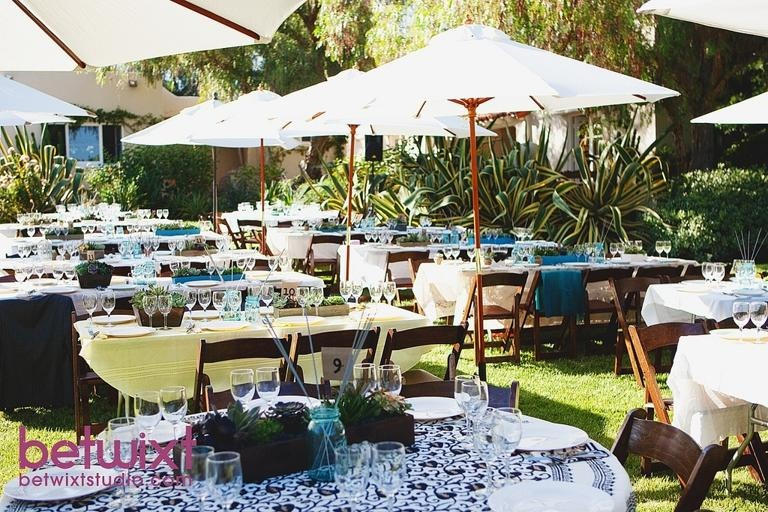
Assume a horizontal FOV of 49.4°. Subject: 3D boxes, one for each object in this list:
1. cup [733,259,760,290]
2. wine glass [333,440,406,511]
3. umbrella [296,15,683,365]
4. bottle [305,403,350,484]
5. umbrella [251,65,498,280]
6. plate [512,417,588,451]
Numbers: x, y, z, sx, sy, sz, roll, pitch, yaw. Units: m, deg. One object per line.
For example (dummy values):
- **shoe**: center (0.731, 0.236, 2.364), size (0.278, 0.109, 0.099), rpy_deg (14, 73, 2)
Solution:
- **cup**: center (3.530, 0.180, 8.100), size (0.225, 0.331, 0.281), rpy_deg (-1, -4, 0)
- **wine glass**: center (-0.068, 1.100, 4.142), size (0.261, 0.448, 0.143), rpy_deg (0, -2, -12)
- **umbrella**: center (0.653, -0.526, 6.590), size (2.678, 2.631, 1.781), rpy_deg (2, 5, 41)
- **bottle**: center (-0.309, 0.972, 4.385), size (0.261, 0.576, 0.295), rpy_deg (0, 2, -1)
- **umbrella**: center (-0.186, -1.093, 8.473), size (1.826, 2.219, 2.078), rpy_deg (0, 2, -1)
- **plate**: center (0.972, 1.012, 4.741), size (0.386, 0.116, 0.381), rpy_deg (-1, 4, 17)
